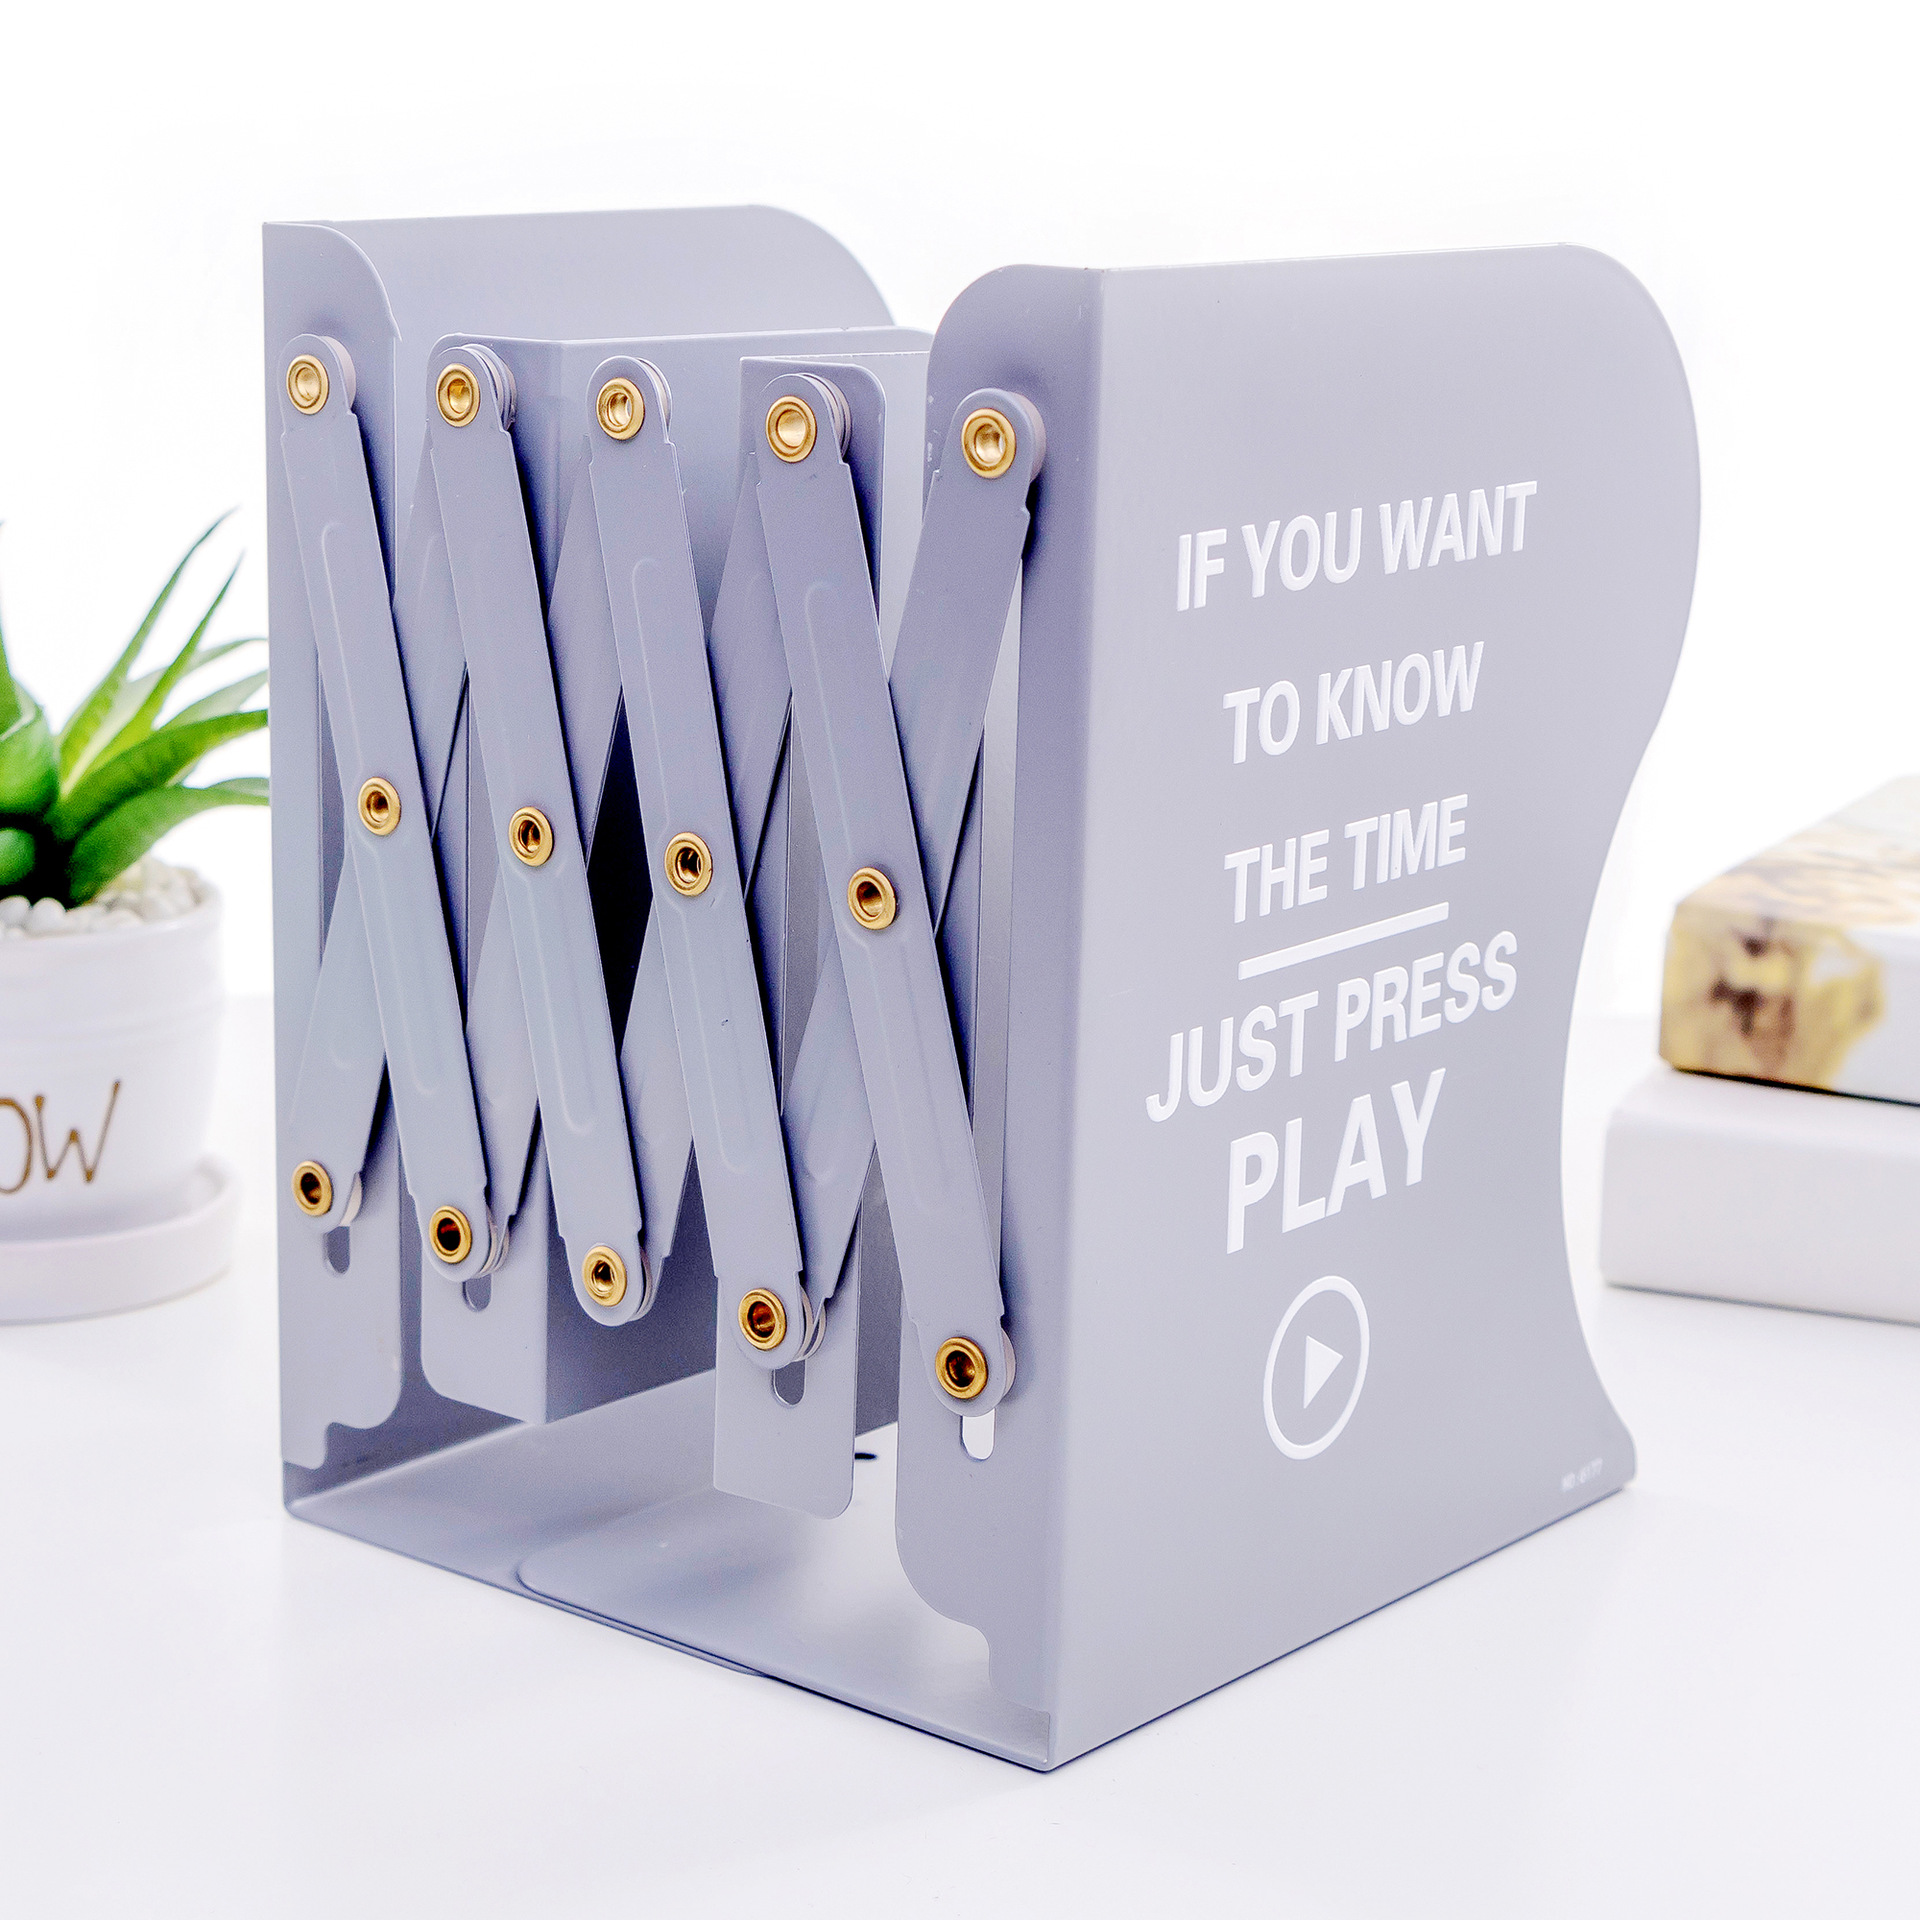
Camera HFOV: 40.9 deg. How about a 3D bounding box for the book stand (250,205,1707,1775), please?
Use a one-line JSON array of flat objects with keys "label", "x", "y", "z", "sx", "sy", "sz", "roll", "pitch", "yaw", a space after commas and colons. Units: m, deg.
[{"label": "book stand", "x": -0.023, "y": -0.023, "z": 0.765, "sx": 0.276, "sy": 0.383, "sz": 0.263, "roll": 11, "pitch": 9, "yaw": 40}]
